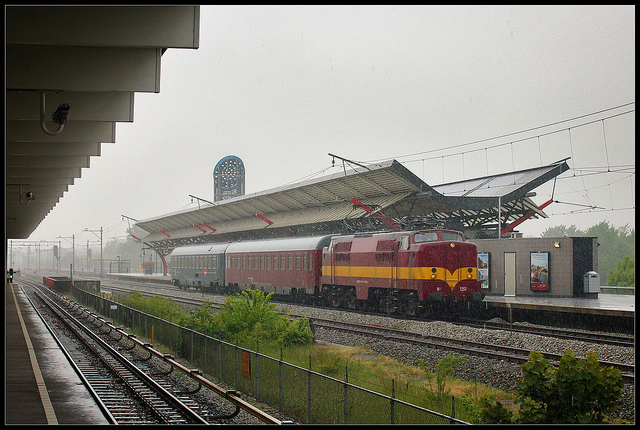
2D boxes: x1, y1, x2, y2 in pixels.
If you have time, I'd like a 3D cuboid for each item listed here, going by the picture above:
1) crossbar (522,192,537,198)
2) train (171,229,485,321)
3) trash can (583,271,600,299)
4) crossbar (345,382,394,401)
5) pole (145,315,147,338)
[{"bbox_3d":[13.582,-1.331,35.988,0.772,0.334,0.965,-4,-9,25],"label":"crossbar"},{"bbox_3d":[-3.720,4.563,44.325,4.801,6.244,39.665,5,-10,-33],"label":"train"},{"bbox_3d":[15.767,4.081,32.242,0.829,1.483,0.669,-2,-8,19],"label":"trash can"},{"bbox_3d":[1.126,4.342,13.478,1.022,0.425,2.315,0,-8,0],"label":"crossbar"},{"bbox_3d":[-8.356,5.354,26.619,0.129,1.052,0.746,2,-8,-16],"label":"pole"}]
